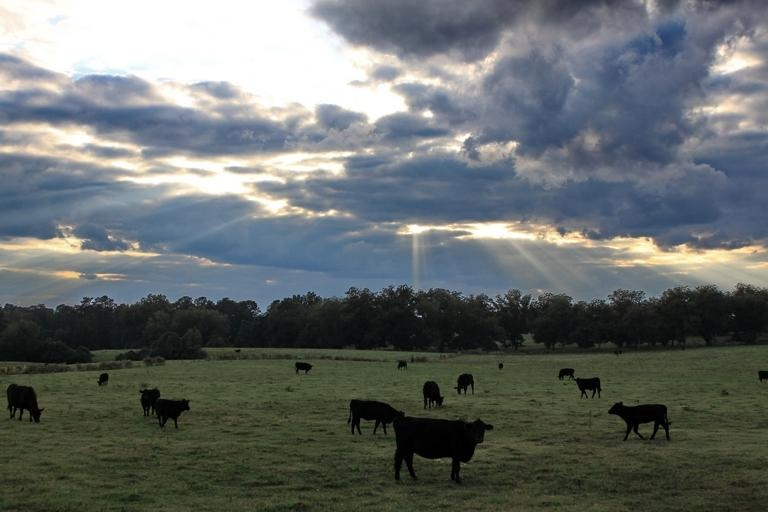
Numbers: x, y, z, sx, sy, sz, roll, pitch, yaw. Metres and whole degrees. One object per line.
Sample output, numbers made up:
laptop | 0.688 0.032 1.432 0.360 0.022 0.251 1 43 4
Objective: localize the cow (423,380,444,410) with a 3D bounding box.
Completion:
cow | 3.937 11.463 58.352 1.490 2.010 1.777 -1 1 -20
